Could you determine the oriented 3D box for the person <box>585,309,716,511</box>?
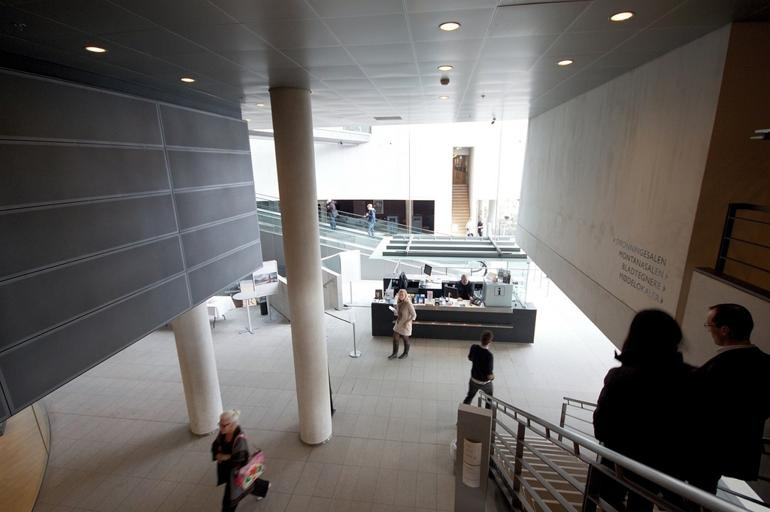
[{"bbox_3d":[2.716,1.405,4.668,0.925,1.713,0.329,5,10,25],"label":"person"}]

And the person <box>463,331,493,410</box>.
[{"bbox_3d":[1.726,2.101,8.164,0.505,1.636,0.895,2,9,12],"label":"person"}]

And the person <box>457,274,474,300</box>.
[{"bbox_3d":[2.151,0.789,11.801,0.456,0.705,0.658,1,8,1],"label":"person"}]

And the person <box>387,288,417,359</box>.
[{"bbox_3d":[0.404,1.567,10.855,0.580,1.725,1.138,0,9,0],"label":"person"}]

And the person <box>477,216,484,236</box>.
[{"bbox_3d":[4.236,-1.355,19.926,0.276,0.734,1.479,2,8,12],"label":"person"}]

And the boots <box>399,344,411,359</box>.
[{"bbox_3d":[0.528,2.315,10.828,0.381,0.406,0.182,1,8,-23],"label":"boots"}]

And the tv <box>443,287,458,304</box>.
[{"bbox_3d":[1.732,1.054,11.815,0.370,0.371,0.132,5,19,15],"label":"tv"}]
